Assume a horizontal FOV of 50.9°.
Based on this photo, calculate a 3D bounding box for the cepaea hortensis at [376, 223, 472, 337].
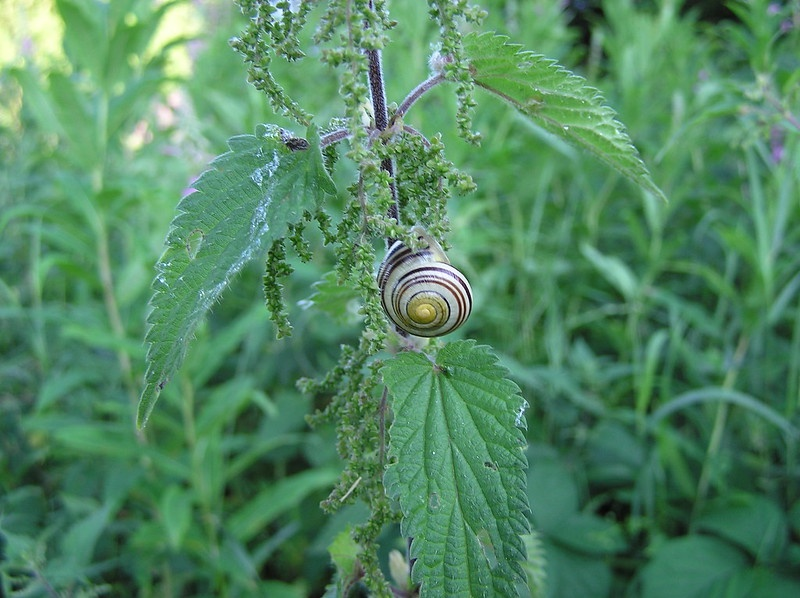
[{"bbox_3d":[0.041,-0.018,1.324,0.136,0.175,0.081,-7,9,25],"label":"cepaea hortensis"}]
